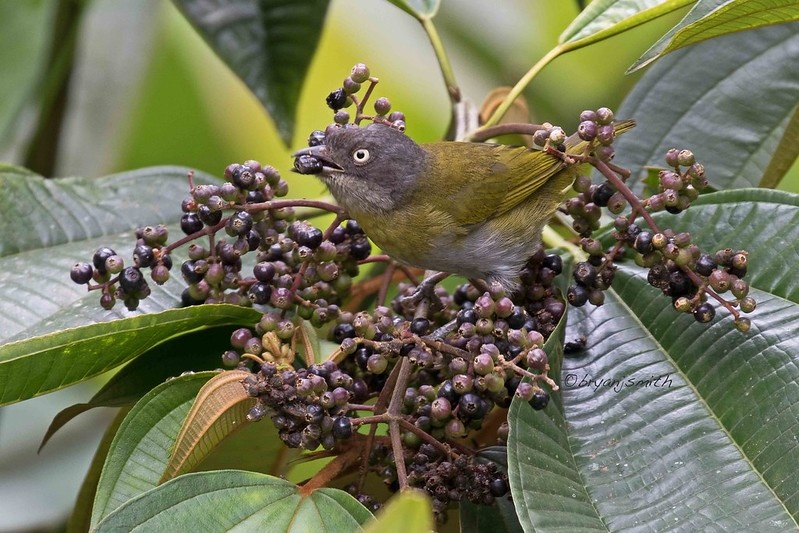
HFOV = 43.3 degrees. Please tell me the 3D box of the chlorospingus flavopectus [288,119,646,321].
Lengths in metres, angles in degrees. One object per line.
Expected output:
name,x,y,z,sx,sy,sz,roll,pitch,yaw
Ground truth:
chlorospingus flavopectus,0.071,-0.233,4.476,0.790,1.858,1.096,4,-82,22
